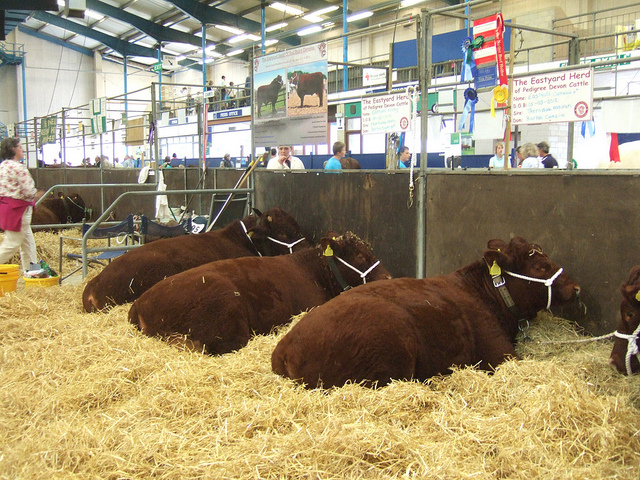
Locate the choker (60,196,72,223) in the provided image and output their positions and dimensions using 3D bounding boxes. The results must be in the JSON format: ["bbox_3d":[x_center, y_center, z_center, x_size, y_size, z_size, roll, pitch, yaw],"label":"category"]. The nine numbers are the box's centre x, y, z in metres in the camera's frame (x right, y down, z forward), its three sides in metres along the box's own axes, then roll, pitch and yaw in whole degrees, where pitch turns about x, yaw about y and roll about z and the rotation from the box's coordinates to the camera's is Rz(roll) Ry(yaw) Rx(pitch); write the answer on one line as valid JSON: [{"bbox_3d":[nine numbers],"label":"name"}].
[{"bbox_3d":[-5.230,-0.633,12.815,0.072,0.563,0.089,-18,-3,-11],"label":"choker"}]

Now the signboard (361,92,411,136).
[{"bbox_3d":[0.702,-1.380,6.763,0.204,0.405,0.843,-5,8,-27],"label":"signboard"}]

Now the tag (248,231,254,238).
[{"bbox_3d":[-0.721,-0.060,6.503,0.013,0.046,0.046,31,-12,26],"label":"tag"}]

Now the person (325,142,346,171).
[{"bbox_3d":[0.256,-1.377,9.959,0.274,0.394,0.824,-1,8,0],"label":"person"}]

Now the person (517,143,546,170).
[{"bbox_3d":[3.471,-1.407,10.198,0.431,0.398,1.024,1,8,18],"label":"person"}]

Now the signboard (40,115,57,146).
[{"bbox_3d":[-7.057,-2.901,16.201,0.026,0.993,1.571,20,4,-31],"label":"signboard"}]

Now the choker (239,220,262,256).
[{"bbox_3d":[-0.733,-0.012,6.557,0.043,0.410,0.034,-29,5,37],"label":"choker"}]

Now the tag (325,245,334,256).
[{"bbox_3d":[0.083,0.089,5.354,0.071,0.113,0.014,3,12,25],"label":"tag"}]

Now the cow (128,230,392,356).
[{"bbox_3d":[-0.380,0.667,5.452,2.458,1.330,0.769,-7,-9,-35],"label":"cow"}]

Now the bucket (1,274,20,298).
[{"bbox_3d":[-3.473,0.499,6.968,0.203,0.185,0.222,2,6,0],"label":"bucket"}]

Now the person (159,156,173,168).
[{"bbox_3d":[-3.523,-1.830,14.328,0.138,0.244,2.900,-3,8,-14],"label":"person"}]

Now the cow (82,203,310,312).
[{"bbox_3d":[-1.139,0.443,6.391,2.471,1.296,0.744,-10,5,-41],"label":"cow"}]
